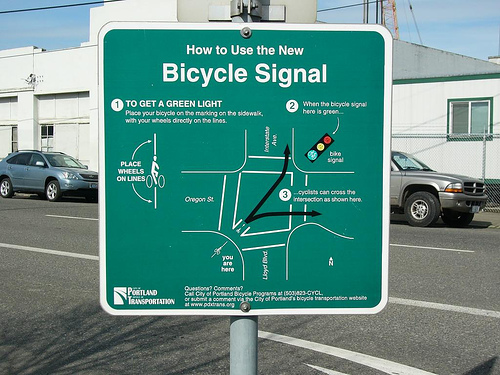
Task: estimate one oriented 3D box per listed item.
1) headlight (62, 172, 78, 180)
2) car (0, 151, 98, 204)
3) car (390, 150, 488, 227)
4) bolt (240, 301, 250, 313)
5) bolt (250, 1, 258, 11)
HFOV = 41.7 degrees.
[{"bbox_3d":[-5.232,-0.355,19.428,0.446,0.192,0.126,2,3,17],"label":"headlight"},{"bbox_3d":[-6.165,-0.379,20.560,3.647,1.503,1.204,4,5,42],"label":"car"},{"bbox_3d":[4.242,0.055,15.207,2.827,1.388,1.543,-2,-1,37],"label":"car"},{"bbox_3d":[-0.029,0.642,3.552,0.042,0.046,0.041,7,-9,-3],"label":"bolt"},{"bbox_3d":[0.016,-0.980,3.566,0.007,0.044,0.059,3,4,44],"label":"bolt"}]
